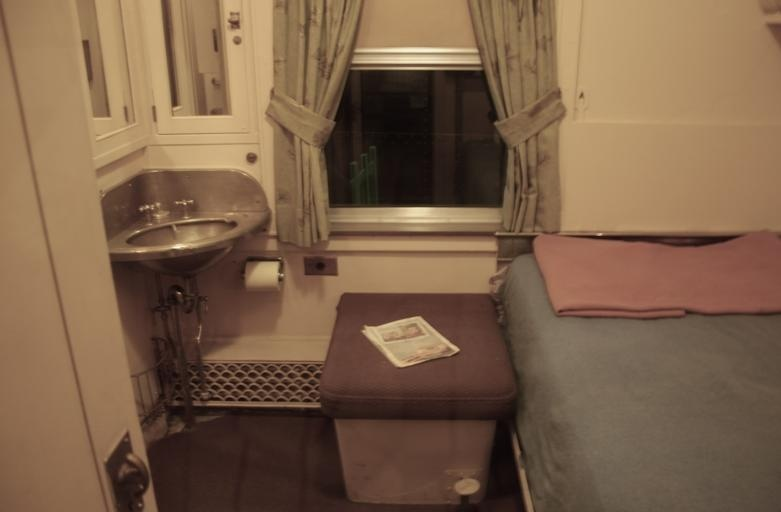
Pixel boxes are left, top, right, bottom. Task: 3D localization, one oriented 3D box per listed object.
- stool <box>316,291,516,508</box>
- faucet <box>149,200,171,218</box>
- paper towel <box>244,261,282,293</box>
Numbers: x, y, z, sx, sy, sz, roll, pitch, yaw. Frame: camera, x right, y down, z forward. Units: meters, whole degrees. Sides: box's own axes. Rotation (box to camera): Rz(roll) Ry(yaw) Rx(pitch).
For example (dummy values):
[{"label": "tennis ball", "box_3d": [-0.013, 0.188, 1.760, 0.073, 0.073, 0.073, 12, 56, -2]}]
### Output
[{"label": "stool", "box_3d": [0.116, 0.668, 2.889, 0.801, 0.611, 0.805, 0, 28, 1]}, {"label": "faucet", "box_3d": [-1.169, -0.231, 3.213, 0.070, 0.092, 0.069, 8, -31, -12]}, {"label": "paper towel", "box_3d": [-0.637, 0.098, 3.227, 0.190, 0.170, 0.141, 0, 23, 0]}]
